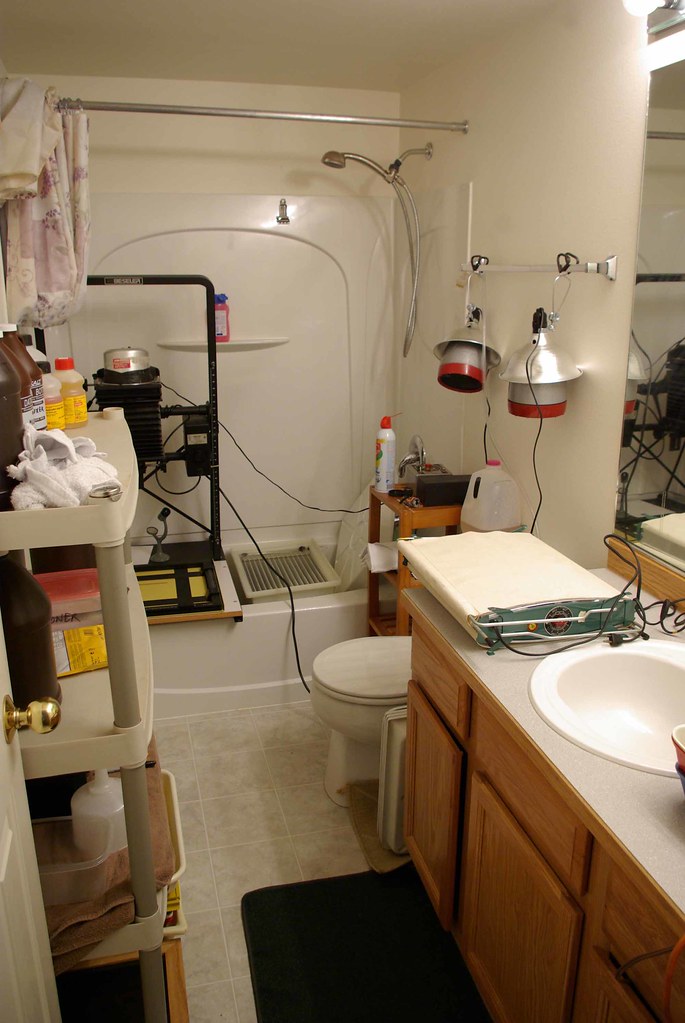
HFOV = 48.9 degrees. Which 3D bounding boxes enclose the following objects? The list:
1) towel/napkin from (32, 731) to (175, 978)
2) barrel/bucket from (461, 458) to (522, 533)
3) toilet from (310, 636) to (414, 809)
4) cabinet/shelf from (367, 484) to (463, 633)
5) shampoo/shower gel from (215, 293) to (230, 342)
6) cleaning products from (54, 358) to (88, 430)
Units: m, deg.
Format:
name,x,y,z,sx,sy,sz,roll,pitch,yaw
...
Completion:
name,x,y,z,sx,sy,sz,roll,pitch,yaw
towel/napkin,-0.370,0.496,1.112,0.176,0.069,0.249,-1,25,-13
barrel/bucket,0.453,-0.037,2.275,0.161,0.241,0.239,-2,13,-3
toilet,0.005,0.573,2.226,0.371,0.491,0.393,-3,26,-7
cabinet/shelf,0.241,0.209,2.664,0.306,0.566,0.635,-1,14,2
shampoo/shower gel,-0.455,-0.743,2.890,0.045,0.179,0.079,2,14,17
cleaning products,-0.491,-0.213,1.373,0.064,0.124,0.068,-4,9,8
